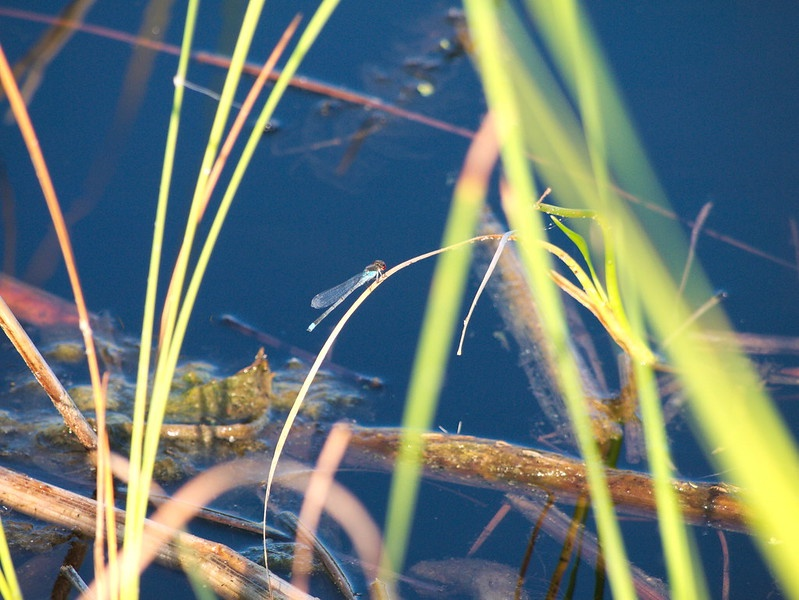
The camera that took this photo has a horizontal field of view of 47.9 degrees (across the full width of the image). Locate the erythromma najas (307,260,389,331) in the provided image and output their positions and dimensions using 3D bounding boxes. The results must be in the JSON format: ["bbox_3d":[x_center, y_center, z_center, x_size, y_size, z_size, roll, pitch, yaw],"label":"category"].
[{"bbox_3d":[-0.212,-0.032,3.429,0.117,0.386,0.157,51,-10,8],"label":"erythromma najas"}]
